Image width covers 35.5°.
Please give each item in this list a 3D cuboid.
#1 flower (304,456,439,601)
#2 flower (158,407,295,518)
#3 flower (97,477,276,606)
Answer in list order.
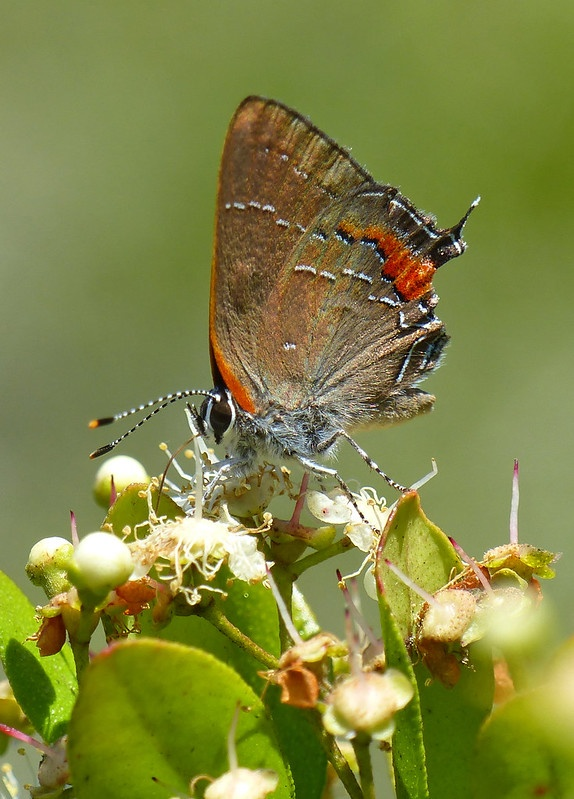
[{"bbox_3d":[0.085,0.165,1.112,0.148,0.140,0.619,4,-5,7],"label":"flower"},{"bbox_3d":[-0.080,0.073,1.218,0.135,0.084,0.140,16,1,-1],"label":"flower"},{"bbox_3d":[-0.099,0.169,1.010,0.185,0.050,0.180,5,1,45],"label":"flower"}]
